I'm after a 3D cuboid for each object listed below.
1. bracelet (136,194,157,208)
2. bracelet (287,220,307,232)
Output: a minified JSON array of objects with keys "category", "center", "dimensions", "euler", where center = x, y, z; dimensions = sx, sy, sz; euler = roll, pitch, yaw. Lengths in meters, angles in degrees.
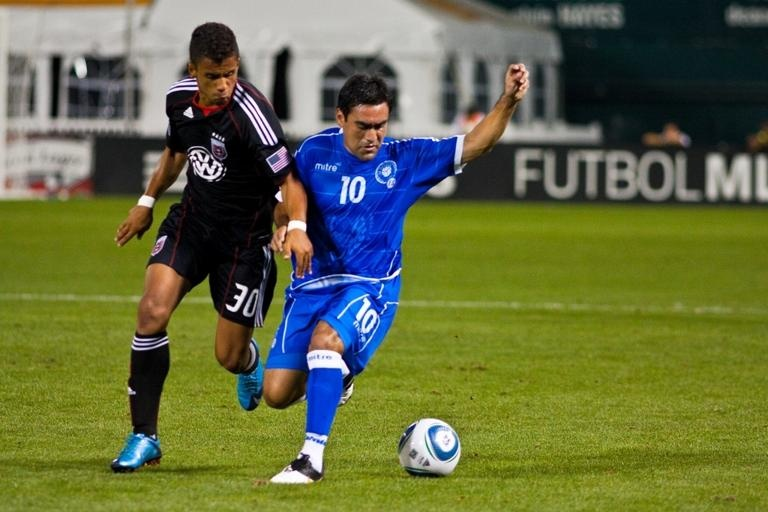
[{"category":"bracelet","center":[-2.555,-0.570,14.814],"dimensions":[0.158,0.120,0.166],"euler":[18,19,38]},{"category":"bracelet","center":[-0.927,-0.306,14.248],"dimensions":[0.138,0.084,0.135],"euler":[0,1,4]}]
